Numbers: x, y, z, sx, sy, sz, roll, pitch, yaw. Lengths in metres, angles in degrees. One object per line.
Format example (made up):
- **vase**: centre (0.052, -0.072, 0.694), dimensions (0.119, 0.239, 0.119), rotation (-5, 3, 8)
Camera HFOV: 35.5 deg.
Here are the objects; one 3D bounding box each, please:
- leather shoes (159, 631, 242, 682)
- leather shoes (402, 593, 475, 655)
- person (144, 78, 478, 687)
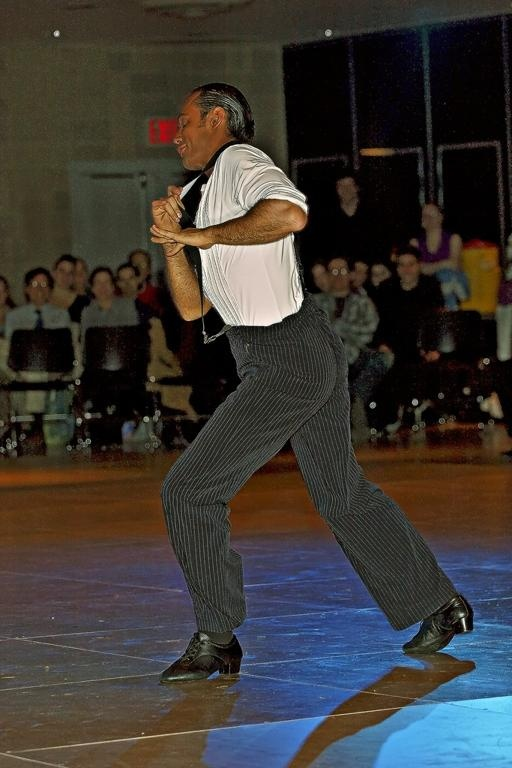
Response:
- **leather shoes**: centre (-0.118, 0.633, 1.853), dimensions (0.223, 0.097, 0.080), rotation (5, -9, -39)
- **leather shoes**: centre (0.464, 0.626, 2.054), dimensions (0.214, 0.102, 0.075), rotation (-30, -41, 19)
- **person**: centre (0.110, -0.016, 1.983), dimensions (0.755, 1.496, 0.553), rotation (2, 5, -8)
